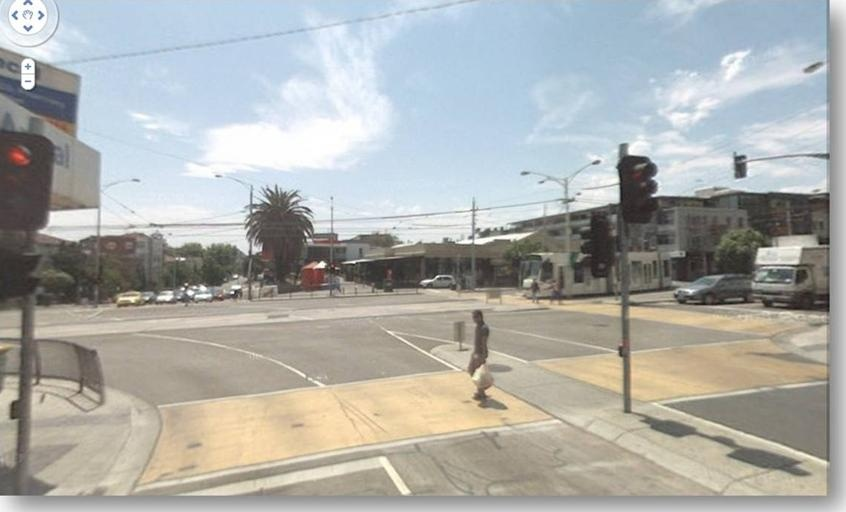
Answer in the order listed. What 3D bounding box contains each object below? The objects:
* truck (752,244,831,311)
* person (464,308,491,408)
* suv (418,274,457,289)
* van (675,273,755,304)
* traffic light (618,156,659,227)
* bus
[{"bbox_3d":[19.918,1.123,32.841,4.954,2.775,2.558,0,0,-42],"label":"truck"},{"bbox_3d":[1.746,3.081,19.003,0.858,2.563,0.970,1,-2,2],"label":"person"},{"bbox_3d":[1.604,2.523,59.819,2.771,1.023,1.417,2,-4,1],"label":"suv"},{"bbox_3d":[17.315,1.928,35.948,5.496,1.755,2.413,2,-1,-40],"label":"van"},{"bbox_3d":[6.135,-1.948,17.468,1.062,1.900,0.390,-2,-2,16],"label":"traffic light"},{"bbox_3d":[10.414,1.257,37.262,11.630,3.510,3.214,0,-1,-9],"label":"bus"}]
